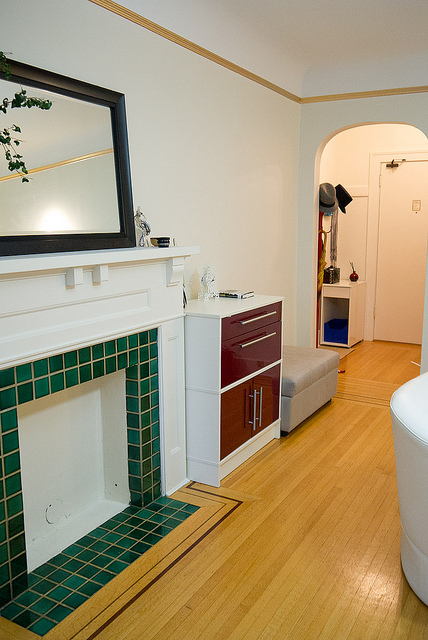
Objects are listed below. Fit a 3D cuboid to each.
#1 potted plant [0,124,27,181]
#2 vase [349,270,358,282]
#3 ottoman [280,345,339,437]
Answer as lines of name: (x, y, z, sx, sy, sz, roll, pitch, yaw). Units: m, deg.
potted plant: (-0.711, -0.593, 1.587, 0.030, 0.185, 0.070, 1, 31, 34)
vase: (1.945, -0.625, 6.223, 0.103, 0.147, 0.102, 0, 0, -42)
ottoman: (0.747, 0.578, 3.695, 0.387, 0.586, 0.961, 2, 3, 25)
